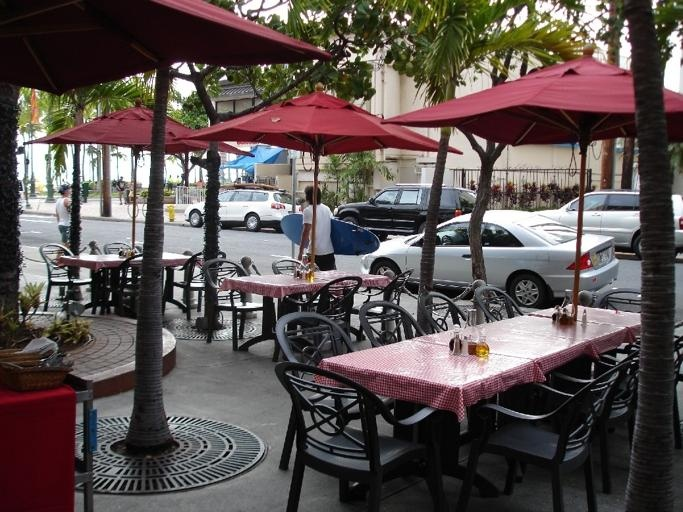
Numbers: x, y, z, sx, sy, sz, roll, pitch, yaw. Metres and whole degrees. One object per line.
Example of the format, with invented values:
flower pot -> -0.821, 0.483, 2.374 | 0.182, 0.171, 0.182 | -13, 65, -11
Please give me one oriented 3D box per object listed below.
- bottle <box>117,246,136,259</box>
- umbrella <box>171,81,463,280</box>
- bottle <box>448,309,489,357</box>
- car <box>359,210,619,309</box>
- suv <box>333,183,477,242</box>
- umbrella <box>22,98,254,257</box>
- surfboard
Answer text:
bottle -> -3.721, -0.066, 10.134 | 0.403, 0.184, 0.555 | 0, 0, -15
umbrella -> -0.156, -0.996, 8.211 | 2.964, 1.937, 2.860 | 1, 2, 18
bottle -> 1.029, 0.605, 4.637 | 0.399, 0.393, 0.270 | -2, 6, -39
car -> 2.912, -0.066, 12.799 | 5.354, 1.714, 2.324 | 5, 8, 36
suv -> 2.981, -1.749, 23.328 | 5.300, 2.172, 2.355 | 8, 10, 30
umbrella -> -3.343, -1.525, 10.326 | 3.005, 2.177, 2.971 | 3, 4, 18
surfboard -> 0.127, -0.256, 9.626 | 0.511, 0.181, 1.367 | 12, -18, 31
